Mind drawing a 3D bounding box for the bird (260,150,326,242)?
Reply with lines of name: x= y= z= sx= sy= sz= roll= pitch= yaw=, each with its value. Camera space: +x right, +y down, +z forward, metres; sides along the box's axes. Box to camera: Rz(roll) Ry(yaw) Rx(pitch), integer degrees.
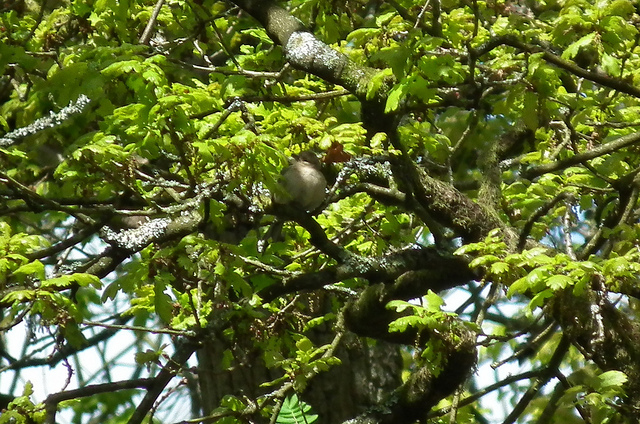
bird: x=-0.153 y=-0.140 z=7.187 sx=0.281 sy=0.501 sz=0.491 roll=15 pitch=-20 yaw=-20
